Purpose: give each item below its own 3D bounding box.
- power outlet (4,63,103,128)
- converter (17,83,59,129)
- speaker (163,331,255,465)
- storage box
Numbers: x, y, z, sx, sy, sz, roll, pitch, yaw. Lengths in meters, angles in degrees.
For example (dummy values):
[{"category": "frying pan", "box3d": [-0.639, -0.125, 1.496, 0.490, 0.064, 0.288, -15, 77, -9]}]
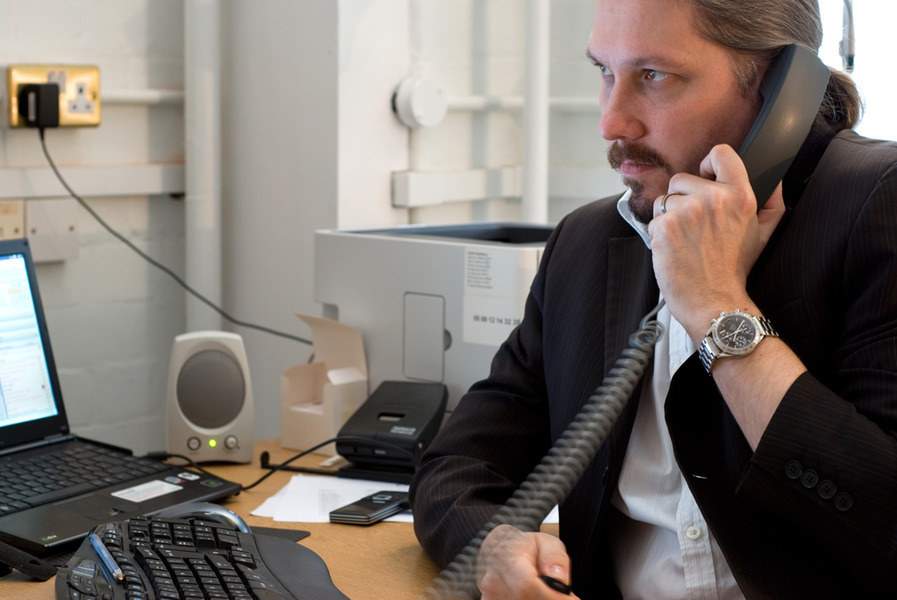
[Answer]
[{"category": "power outlet", "box3d": [-0.993, -0.517, 1.924, 0.239, 0.166, 0.055, -3, 8, -44]}, {"category": "converter", "box3d": [-1.053, -0.489, 1.883, 0.086, 0.106, 0.114, 18, 18, 29]}, {"category": "speaker", "box3d": [-0.564, 0.258, 1.704, 0.213, 0.324, 0.176, 16, -35, -34]}, {"category": "storage box", "box3d": [-0.007, 0.047, 1.911, 0.625, 0.444, 0.355, 6, 16, 21]}]
